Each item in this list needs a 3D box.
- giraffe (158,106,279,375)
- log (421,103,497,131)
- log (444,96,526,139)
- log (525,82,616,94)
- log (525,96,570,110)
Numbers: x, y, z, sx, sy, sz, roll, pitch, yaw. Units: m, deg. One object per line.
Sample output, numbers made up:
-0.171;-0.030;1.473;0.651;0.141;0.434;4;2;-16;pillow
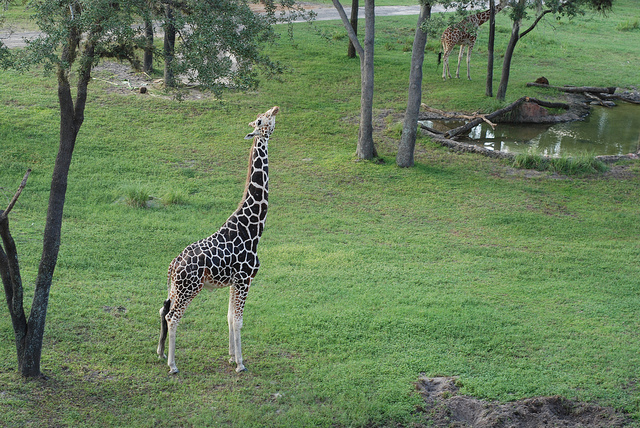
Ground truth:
-2.858;0.590;33.085;3.033;7.586;3.102;1;11;-3;giraffe
5.702;-3.894;46.018;3.438;0.582;0.680;10;-8;24;log
6.749;-3.841;46.049;3.271;0.353;0.551;-29;30;-23;log
10.965;-5.528;49.987;3.256;0.374;0.455;5;19;2;log
9.588;-4.594;47.373;2.698;0.364;0.614;8;0;-29;log
